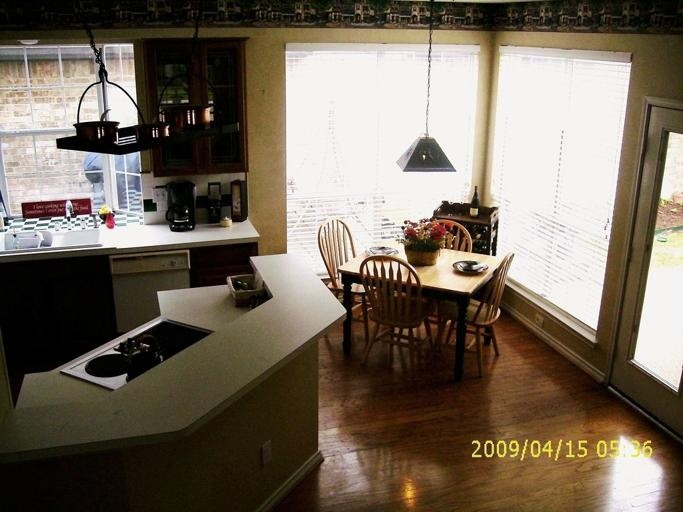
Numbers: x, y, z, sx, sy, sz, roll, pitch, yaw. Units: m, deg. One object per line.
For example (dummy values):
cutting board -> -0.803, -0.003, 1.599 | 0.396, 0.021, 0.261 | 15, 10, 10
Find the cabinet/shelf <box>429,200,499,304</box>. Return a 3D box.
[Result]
cabinet/shelf -> 1.456, -0.086, 6.146 | 0.970, 0.926, 0.541 | 7, 19, 24

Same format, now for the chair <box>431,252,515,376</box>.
chair -> 1.297, 0.494, 5.244 | 0.636, 1.140, 0.606 | 12, 20, 36

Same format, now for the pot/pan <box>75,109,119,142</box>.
pot/pan -> -1.355, -0.731, 3.055 | 0.178, 0.154, 0.228 | 5, 11, 17

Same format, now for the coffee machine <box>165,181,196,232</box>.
coffee machine -> -1.620, -0.510, 5.437 | 0.309, 0.482, 0.250 | -7, 15, -16

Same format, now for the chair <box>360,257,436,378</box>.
chair -> 0.566, 0.456, 5.089 | 0.626, 1.125, 0.680 | 14, 24, 39

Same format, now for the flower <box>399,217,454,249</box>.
flower -> 0.821, -0.223, 5.236 | 0.328, 0.204, 0.366 | 6, 20, 15

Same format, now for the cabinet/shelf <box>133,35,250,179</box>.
cabinet/shelf -> -1.428, -1.458, 5.285 | 0.951, 1.296, 0.339 | -7, 27, -23

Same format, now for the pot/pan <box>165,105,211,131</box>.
pot/pan -> -0.984, -0.889, 3.406 | 0.215, 0.081, 0.192 | 0, 23, 1

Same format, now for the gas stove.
gas stove -> -1.275, 0.550, 3.370 | 0.513, 0.224, 0.773 | 6, 17, 28
